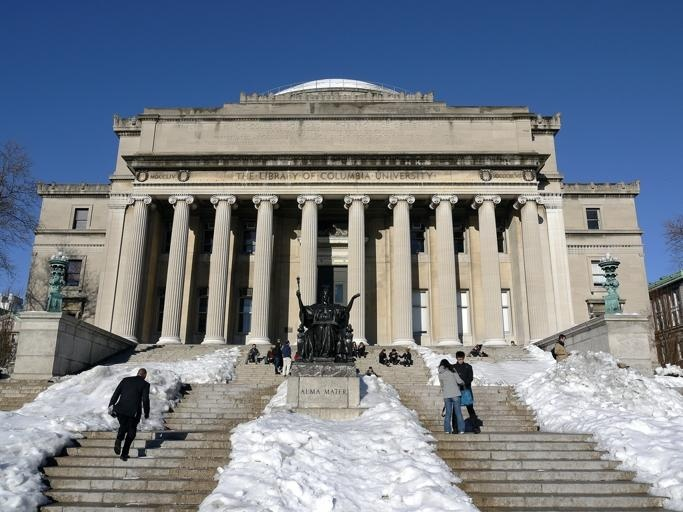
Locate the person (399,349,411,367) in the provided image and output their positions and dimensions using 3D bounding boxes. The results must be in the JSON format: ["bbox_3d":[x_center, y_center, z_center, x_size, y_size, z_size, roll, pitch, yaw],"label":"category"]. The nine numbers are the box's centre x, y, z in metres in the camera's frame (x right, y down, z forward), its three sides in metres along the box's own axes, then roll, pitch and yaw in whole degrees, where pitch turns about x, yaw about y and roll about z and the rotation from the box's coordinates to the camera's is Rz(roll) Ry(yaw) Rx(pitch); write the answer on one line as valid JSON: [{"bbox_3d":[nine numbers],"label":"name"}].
[{"bbox_3d":[3.132,4.960,25.165,0.654,0.726,0.509,-2,-30,10],"label":"person"}]

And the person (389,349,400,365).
[{"bbox_3d":[2.561,5.004,25.552,0.485,0.690,0.491,1,-26,0],"label":"person"}]

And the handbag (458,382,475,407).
[{"bbox_3d":[3.296,3.685,13.866,0.208,0.575,0.473,-8,-16,33],"label":"handbag"}]
